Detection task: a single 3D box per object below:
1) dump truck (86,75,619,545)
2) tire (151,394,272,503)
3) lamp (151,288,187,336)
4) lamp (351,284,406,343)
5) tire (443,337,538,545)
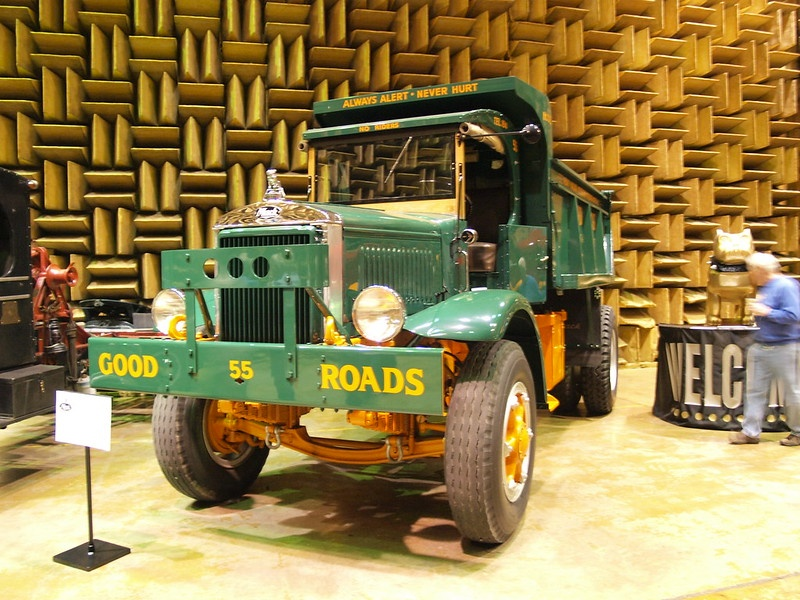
[{"bbox_3d":[-0.039,-0.115,4.516,2.315,2.932,3.086,3,10,28],"label":"dump truck"},{"bbox_3d":[-1.228,0.954,4.087,0.276,0.609,0.723,-7,-38,19],"label":"tire"},{"bbox_3d":[-1.406,0.067,3.817,0.211,0.294,0.182,-2,9,-2],"label":"lamp"},{"bbox_3d":[-0.114,0.073,3.365,0.362,0.268,0.075,1,5,11],"label":"lamp"},{"bbox_3d":[0.519,0.836,3.632,0.350,1.167,0.650,3,10,25],"label":"tire"}]
